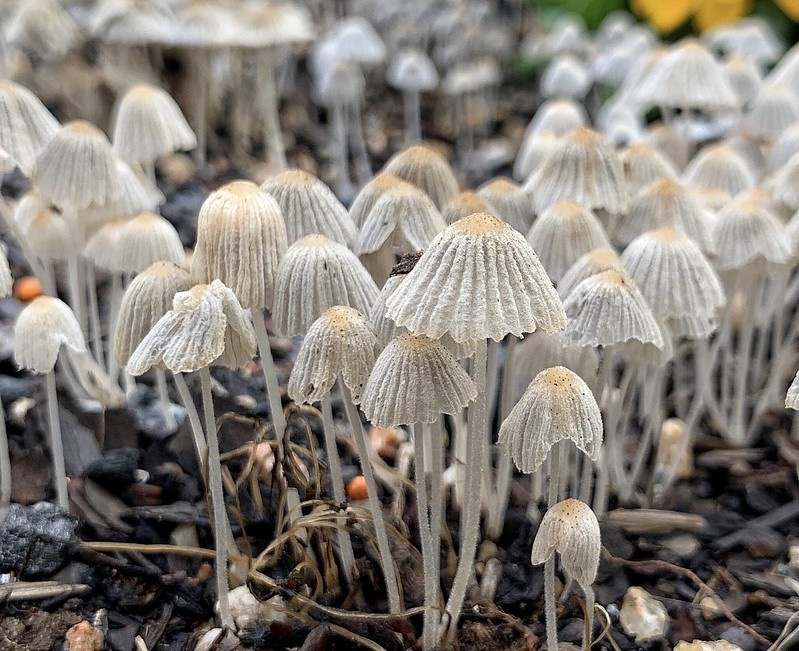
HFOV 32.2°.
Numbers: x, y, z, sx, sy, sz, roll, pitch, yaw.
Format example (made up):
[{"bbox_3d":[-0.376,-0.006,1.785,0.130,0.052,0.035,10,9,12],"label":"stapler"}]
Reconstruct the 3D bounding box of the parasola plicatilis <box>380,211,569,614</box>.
[{"bbox_3d":[0.191,0.282,4.233,0.525,1.250,0.315,5,24,-1],"label":"parasola plicatilis"}]

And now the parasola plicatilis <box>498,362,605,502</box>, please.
[{"bbox_3d":[0.466,0.258,4.226,0.336,0.497,0.362,6,16,11],"label":"parasola plicatilis"}]

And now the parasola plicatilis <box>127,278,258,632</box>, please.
[{"bbox_3d":[-0.652,0.367,4.327,0.375,1.100,0.404,3,24,-6],"label":"parasola plicatilis"}]
